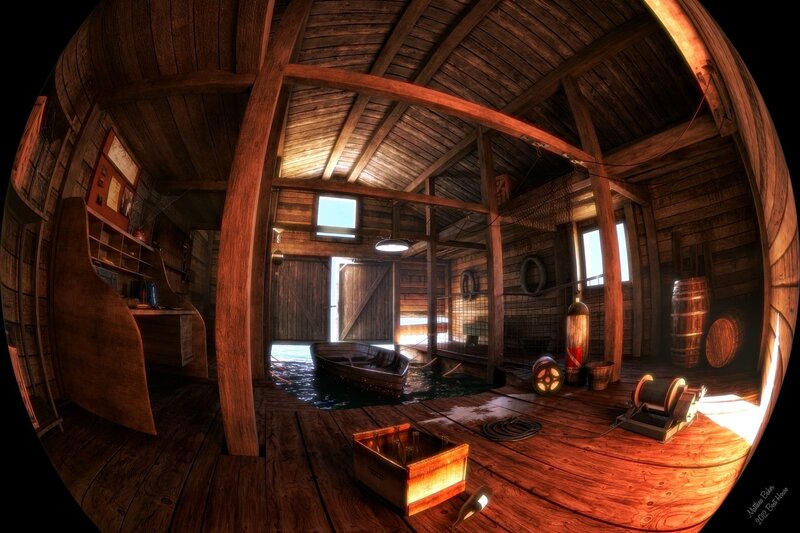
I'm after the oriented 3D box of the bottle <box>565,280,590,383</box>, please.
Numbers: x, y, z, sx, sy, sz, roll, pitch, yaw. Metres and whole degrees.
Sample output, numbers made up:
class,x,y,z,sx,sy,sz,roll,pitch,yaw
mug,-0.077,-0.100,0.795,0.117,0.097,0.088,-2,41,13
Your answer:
class,x,y,z,sx,sy,sz,roll,pitch,yaw
bottle,1.610,0.669,4.043,0.192,0.800,0.111,2,10,15

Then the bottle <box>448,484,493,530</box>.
class,x,y,z,sx,sy,sz,roll,pitch,yaw
bottle,0.370,1.185,2.241,0.275,0.093,0.071,-40,3,-34

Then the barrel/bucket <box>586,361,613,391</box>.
class,x,y,z,sx,sy,sz,roll,pitch,yaw
barrel/bucket,1.711,0.928,3.868,0.252,0.186,0.260,0,2,0

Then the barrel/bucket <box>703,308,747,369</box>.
class,x,y,z,sx,sy,sz,roll,pitch,yaw
barrel/bucket,1.577,0.335,2.148,0.203,0.182,0.292,14,13,33

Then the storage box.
class,x,y,z,sx,sy,sz,roll,pitch,yaw
storage box,0.045,0.976,2.324,0.457,0.218,0.458,15,0,38

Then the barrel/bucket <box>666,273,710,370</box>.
class,x,y,z,sx,sy,sz,roll,pitch,yaw
barrel/bucket,1.476,0.282,2.273,0.119,0.476,0.248,-2,10,-6

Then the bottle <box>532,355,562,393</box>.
class,x,y,z,sx,sy,sz,roll,pitch,yaw
bottle,1.333,0.981,4.022,0.241,0.291,0.217,4,11,27

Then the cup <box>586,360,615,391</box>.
class,x,y,z,sx,sy,sz,roll,pitch,yaw
cup,1.713,0.926,3.853,0.259,0.191,0.267,0,3,0
